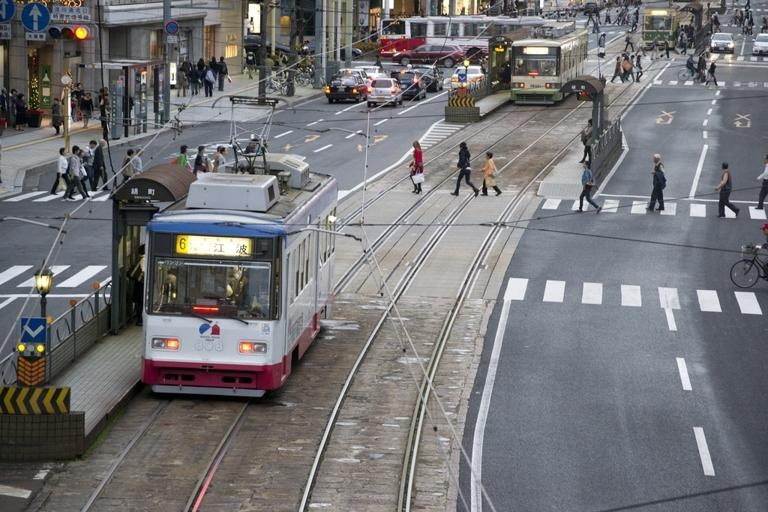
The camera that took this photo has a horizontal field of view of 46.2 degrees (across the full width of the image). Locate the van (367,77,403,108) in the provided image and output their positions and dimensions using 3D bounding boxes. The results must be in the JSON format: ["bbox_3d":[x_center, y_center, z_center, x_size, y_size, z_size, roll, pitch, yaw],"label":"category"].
[{"bbox_3d":[0.000,-10.284,56.848,1.303,1.366,2.665,0,17,8],"label":"van"}]

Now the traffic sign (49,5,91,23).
[{"bbox_3d":[-15.588,-11.974,44.231,1.825,0.761,0.621,-2,16,4],"label":"traffic sign"}]

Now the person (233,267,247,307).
[{"bbox_3d":[-3.056,0.654,18.744,0.220,1.079,0.113,-4,39,-14],"label":"person"}]

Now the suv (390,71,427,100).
[{"bbox_3d":[1.905,-11.619,61.152,1.262,1.295,2.849,0,14,9],"label":"suv"}]

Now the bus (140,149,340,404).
[{"bbox_3d":[-3.016,0.598,20.164,2.775,4.696,5.093,4,17,23],"label":"bus"}]

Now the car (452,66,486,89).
[{"bbox_3d":[6.020,-12.851,65.145,1.829,1.583,4.485,1,20,10],"label":"car"}]

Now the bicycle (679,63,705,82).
[{"bbox_3d":[23.319,-13.525,67.669,2.118,1.517,1.247,1,32,6],"label":"bicycle"}]

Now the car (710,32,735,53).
[{"bbox_3d":[32.115,-20.034,85.135,2.054,1.632,2.811,3,18,21],"label":"car"}]

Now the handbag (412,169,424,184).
[{"bbox_3d":[1.354,-3.192,36.158,0.564,0.588,0.200,-18,0,-40],"label":"handbag"}]

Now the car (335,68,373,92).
[{"bbox_3d":[-1.767,-11.861,61.388,1.398,1.308,2.878,1,16,13],"label":"car"}]

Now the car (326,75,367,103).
[{"bbox_3d":[-2.407,-10.871,58.827,1.628,1.737,3.195,12,22,42],"label":"car"}]

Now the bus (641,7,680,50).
[{"bbox_3d":[25.921,-21.233,83.704,2.994,3.470,3.108,-1,16,8],"label":"bus"}]

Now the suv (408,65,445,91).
[{"bbox_3d":[2.930,-12.507,63.488,1.875,1.600,4.551,0,15,8],"label":"suv"}]
